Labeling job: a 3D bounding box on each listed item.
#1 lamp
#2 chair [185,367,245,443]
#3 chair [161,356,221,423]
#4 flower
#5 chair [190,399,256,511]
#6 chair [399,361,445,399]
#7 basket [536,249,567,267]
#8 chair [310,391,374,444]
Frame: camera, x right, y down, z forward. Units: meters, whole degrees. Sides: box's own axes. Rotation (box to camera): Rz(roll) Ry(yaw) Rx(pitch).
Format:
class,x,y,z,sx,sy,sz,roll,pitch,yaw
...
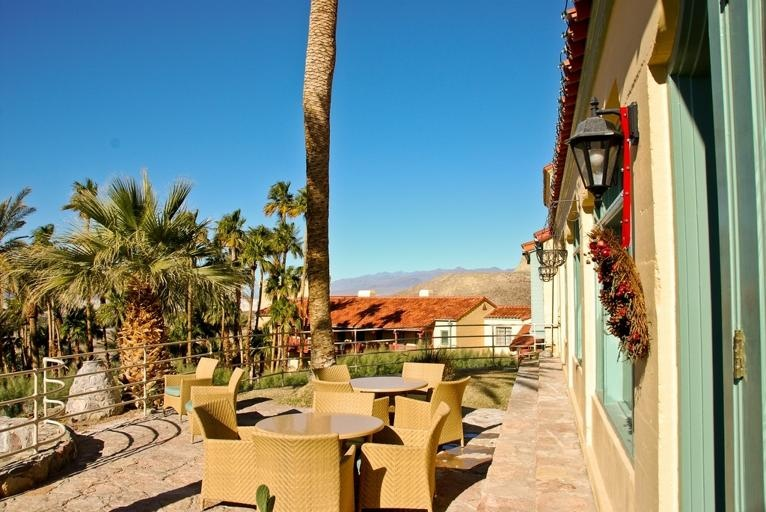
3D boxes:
class,x,y,z,sx,sy,sz,roll,pitch,yaw
lamp,1.699,-0.825,4.091,0.470,0.780,0.389,-1,-1,4
chair,-2.703,2.399,8.473,0.947,1.069,0.999,-1,-4,28
chair,-3.673,2.471,10.021,0.851,0.964,0.765,5,-5,-36
flower,1.658,0.254,3.693,0.306,0.695,0.416,-7,-5,22
chair,-1.792,2.255,6.016,0.620,1.163,1.003,-4,-6,-20
chair,0.688,2.224,9.770,0.534,0.750,0.580,-3,-24,20
basket,3.984,0.019,12.371,0.520,0.480,0.832,-7,-6,11
chair,-0.541,2.126,7.236,0.473,0.598,0.474,6,-15,-28
